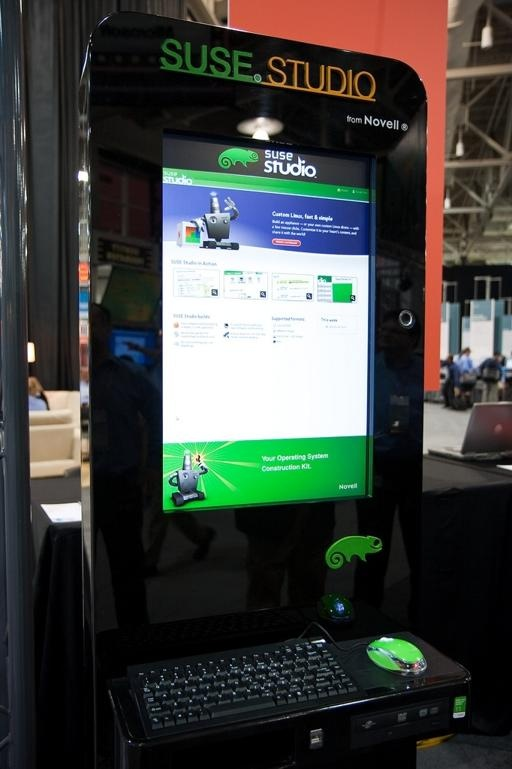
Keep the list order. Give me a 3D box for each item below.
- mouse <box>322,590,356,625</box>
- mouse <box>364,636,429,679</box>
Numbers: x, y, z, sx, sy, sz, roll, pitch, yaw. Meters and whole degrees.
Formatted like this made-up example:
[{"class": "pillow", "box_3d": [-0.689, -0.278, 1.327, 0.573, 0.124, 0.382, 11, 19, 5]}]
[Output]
[{"class": "mouse", "box_3d": [0.112, 0.300, 0.876, 0.047, 0.031, 0.026, 1, 8, -22]}, {"class": "mouse", "box_3d": [0.169, 0.322, 0.778, 0.071, 0.024, 0.061, 7, 9, 12]}]
